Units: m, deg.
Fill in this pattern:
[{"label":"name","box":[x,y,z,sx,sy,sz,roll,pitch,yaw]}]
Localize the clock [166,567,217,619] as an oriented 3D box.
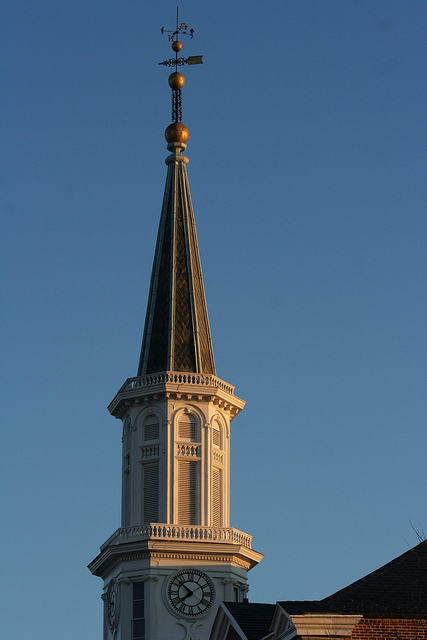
[{"label":"clock","box":[-0.924,9.824,76.189,1.903,2.366,0.136,5,-47,-6]}]
